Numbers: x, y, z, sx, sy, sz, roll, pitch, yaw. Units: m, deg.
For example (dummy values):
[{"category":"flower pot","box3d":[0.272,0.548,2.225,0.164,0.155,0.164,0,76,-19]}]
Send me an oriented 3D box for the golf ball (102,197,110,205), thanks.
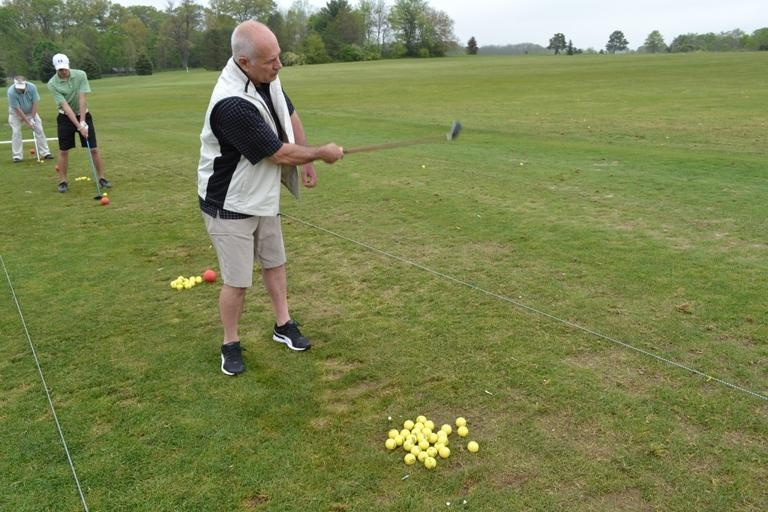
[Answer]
[{"category":"golf ball","box3d":[-4.970,-0.954,8.937,0.108,0.104,0.124,35,53,5]}]
